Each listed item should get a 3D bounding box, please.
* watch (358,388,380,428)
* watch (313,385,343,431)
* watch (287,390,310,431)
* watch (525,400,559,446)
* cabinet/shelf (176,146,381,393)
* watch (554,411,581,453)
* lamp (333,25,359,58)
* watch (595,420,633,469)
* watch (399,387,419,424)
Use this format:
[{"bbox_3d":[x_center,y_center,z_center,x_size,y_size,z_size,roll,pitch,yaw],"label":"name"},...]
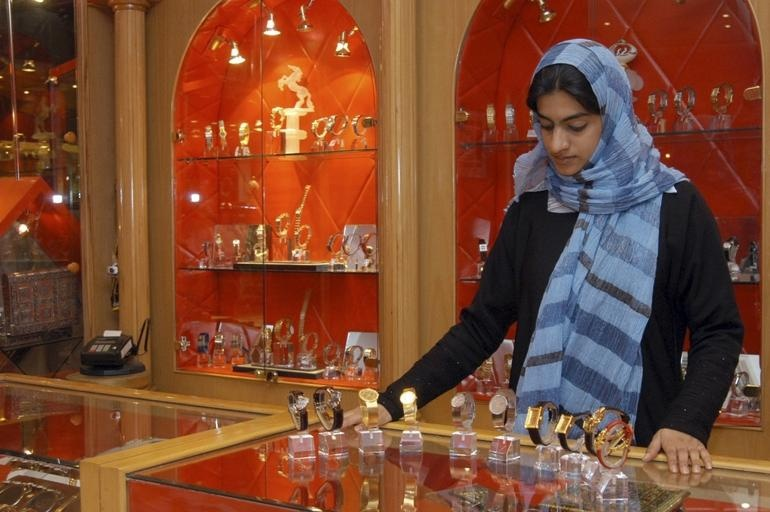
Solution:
[{"bbox_3d":[-0.030,0.343,1.417,0.039,0.076,0.067,-6,16,-6],"label":"watch"},{"bbox_3d":[-0.122,0.336,1.420,0.063,0.091,0.091,-3,7,-7],"label":"watch"},{"bbox_3d":[-0.191,0.342,1.439,0.044,0.083,0.112,-3,8,-9],"label":"watch"},{"bbox_3d":[0.317,0.344,1.305,0.058,0.098,0.066,1,8,19],"label":"watch"},{"bbox_3d":[-0.514,0.057,3.377,1.334,1.288,0.443,0,-2,23],"label":"cabinet/shelf"},{"bbox_3d":[0.366,0.351,1.285,0.049,0.075,0.056,2,8,30],"label":"watch"},{"bbox_3d":[-0.201,-1.082,3.253,0.124,0.196,0.104,7,10,-17],"label":"lamp"},{"bbox_3d":[0.433,0.354,1.259,0.080,0.095,0.028,40,-21,-24],"label":"watch"},{"bbox_3d":[0.053,0.324,1.394,0.049,0.076,0.068,0,-3,1],"label":"watch"}]
